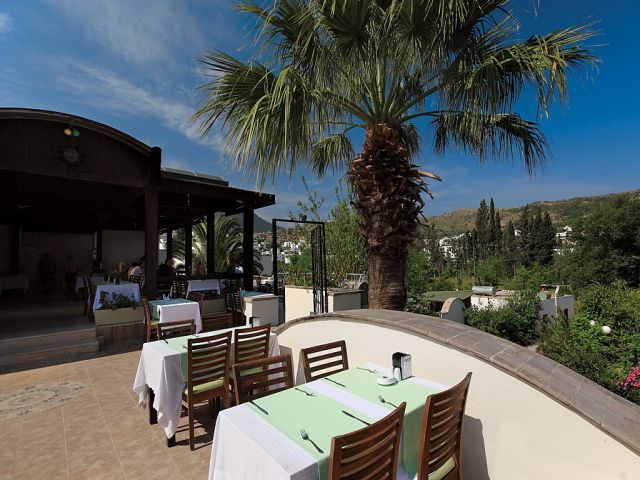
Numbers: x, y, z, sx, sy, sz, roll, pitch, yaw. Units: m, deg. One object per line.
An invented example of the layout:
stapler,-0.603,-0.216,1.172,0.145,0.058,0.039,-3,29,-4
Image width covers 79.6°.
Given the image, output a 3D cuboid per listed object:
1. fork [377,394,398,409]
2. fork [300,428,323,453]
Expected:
fork,0.742,1.791,4.334,0.069,0.065,0.409,11,-8,-31
fork,-0.087,2.025,3.857,0.086,0.067,0.428,-2,13,-25
